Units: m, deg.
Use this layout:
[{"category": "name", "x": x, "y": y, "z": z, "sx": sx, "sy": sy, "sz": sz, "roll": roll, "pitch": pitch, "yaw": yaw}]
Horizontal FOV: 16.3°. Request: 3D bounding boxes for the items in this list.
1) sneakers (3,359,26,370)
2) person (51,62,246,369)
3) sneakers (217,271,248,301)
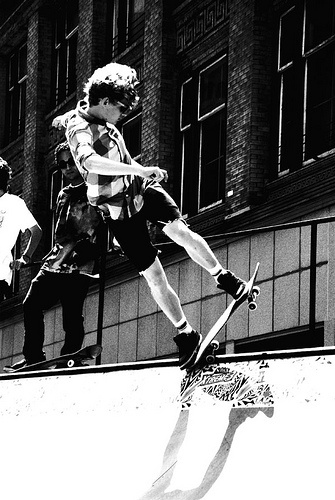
[{"category": "sneakers", "x": -1.524, "y": 1.155, "z": 11.767, "sx": 0.281, "sy": 0.125, "sz": 0.104, "roll": 0, "pitch": -6, "yaw": -17}, {"category": "person", "x": -0.254, "y": -0.404, "z": 10.274, "sx": 1.104, "sy": 2.926, "sz": 1.382, "roll": 12, "pitch": -17, "yaw": -36}, {"category": "sneakers", "x": 0.557, "y": 0.279, "z": 9.890, "sx": 0.279, "sy": 0.175, "sz": 0.119, "roll": 41, "pitch": 19, "yaw": 14}]
